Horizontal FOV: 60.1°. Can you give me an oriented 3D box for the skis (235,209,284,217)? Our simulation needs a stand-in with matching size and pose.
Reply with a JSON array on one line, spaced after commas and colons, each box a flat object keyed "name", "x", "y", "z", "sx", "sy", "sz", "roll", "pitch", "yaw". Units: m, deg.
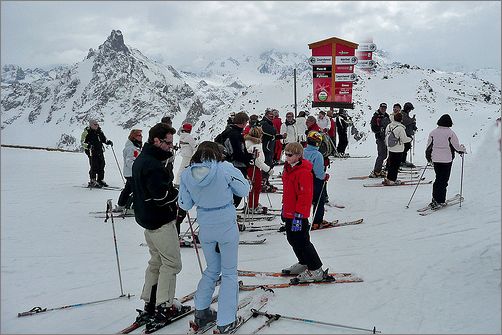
[{"name": "skis", "x": 0.329, "y": 1.478, "z": 14.313, "sx": 1.396, "sy": 0.258, "sz": 0.111, "roll": 4, "pitch": -29, "yaw": -9}]

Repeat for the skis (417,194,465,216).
[{"name": "skis", "x": 6.106, "y": 1.217, "z": 13.867, "sx": 1.420, "sy": 0.268, "sz": 0.197, "roll": -16, "pitch": -31, "yaw": -27}]

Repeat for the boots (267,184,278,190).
[{"name": "boots", "x": 0.849, "y": 0.771, "z": 17.153, "sx": 0.416, "sy": 0.201, "sz": 0.171, "roll": -3, "pitch": 20, "yaw": 6}]

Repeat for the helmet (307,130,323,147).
[{"name": "helmet", "x": 1.774, "y": -0.824, "z": 12.084, "sx": 0.324, "sy": 0.433, "sz": 0.423, "roll": 4, "pitch": -7, "yaw": 23}]

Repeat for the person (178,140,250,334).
[{"name": "person", "x": -0.770, "y": 1.439, "z": 9.131, "sx": 1.203, "sy": 3.992, "sz": 0.646, "roll": 0, "pitch": 4, "yaw": 24}]

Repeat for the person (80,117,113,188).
[{"name": "person", "x": -6.565, "y": -0.537, "z": 18.143, "sx": 0.846, "sy": 2.833, "sz": 1.355, "roll": -2, "pitch": 4, "yaw": -12}]

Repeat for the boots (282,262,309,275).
[{"name": "boots", "x": 1.075, "y": 2.511, "z": 10.792, "sx": 0.703, "sy": 0.296, "sz": 0.252, "roll": 0, "pitch": -3, "yaw": 2}]

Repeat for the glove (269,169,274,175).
[{"name": "glove", "x": 0.624, "y": 0.103, "z": 13.204, "sx": 0.111, "sy": 0.168, "sz": 0.042, "roll": -1, "pitch": -19, "yaw": 32}]

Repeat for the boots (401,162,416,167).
[{"name": "boots", "x": 7.130, "y": -0.139, "z": 19.707, "sx": 0.724, "sy": 0.328, "sz": 0.248, "roll": 0, "pitch": 8, "yaw": 31}]

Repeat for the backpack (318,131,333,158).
[{"name": "backpack", "x": 2.506, "y": -0.767, "z": 14.327, "sx": 0.265, "sy": 0.845, "sz": 0.593, "roll": 1, "pitch": 6, "yaw": -13}]

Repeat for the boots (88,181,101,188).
[{"name": "boots", "x": -6.712, "y": 0.720, "z": 18.679, "sx": 0.586, "sy": 0.225, "sz": 0.259, "roll": -2, "pitch": -9, "yaw": 11}]

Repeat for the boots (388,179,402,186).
[{"name": "boots", "x": 5.600, "y": 0.581, "z": 16.788, "sx": 0.548, "sy": 0.195, "sz": 0.242, "roll": 4, "pitch": 38, "yaw": 12}]

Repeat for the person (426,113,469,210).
[{"name": "person", "x": 6.107, "y": -0.193, "z": 13.722, "sx": 0.991, "sy": 2.960, "sz": 0.557, "roll": 0, "pitch": 4, "yaw": 22}]

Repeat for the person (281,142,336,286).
[{"name": "person", "x": 1.220, "y": 1.072, "z": 10.351, "sx": 1.062, "sy": 3.362, "sz": 0.696, "roll": 0, "pitch": 4, "yaw": 17}]

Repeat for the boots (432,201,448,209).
[{"name": "boots", "x": 5.963, "y": 1.196, "z": 13.865, "sx": 0.187, "sy": 0.291, "sz": 0.707, "roll": -1, "pitch": -3, "yaw": -9}]

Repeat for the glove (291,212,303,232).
[{"name": "glove", "x": 1.079, "y": 1.267, "z": 10.058, "sx": 0.247, "sy": 0.389, "sz": 0.111, "roll": 10, "pitch": -9, "yaw": 21}]

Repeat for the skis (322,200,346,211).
[{"name": "skis", "x": 2.855, "y": 1.306, "z": 14.861, "sx": 0.217, "sy": 0.039, "sz": 0.830, "roll": -17, "pitch": 14, "yaw": -17}]
